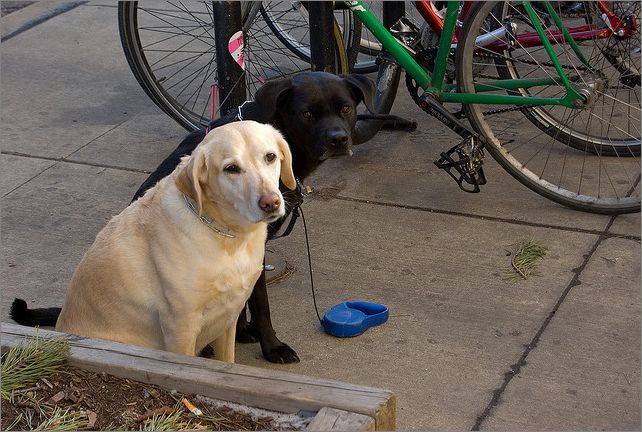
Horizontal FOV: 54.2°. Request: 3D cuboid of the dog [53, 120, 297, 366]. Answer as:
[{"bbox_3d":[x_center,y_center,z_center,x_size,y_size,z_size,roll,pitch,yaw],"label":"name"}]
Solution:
[{"bbox_3d":[-0.742,0.277,3.261,1.266,1.343,0.590,-11,35,-5],"label":"dog"}]
